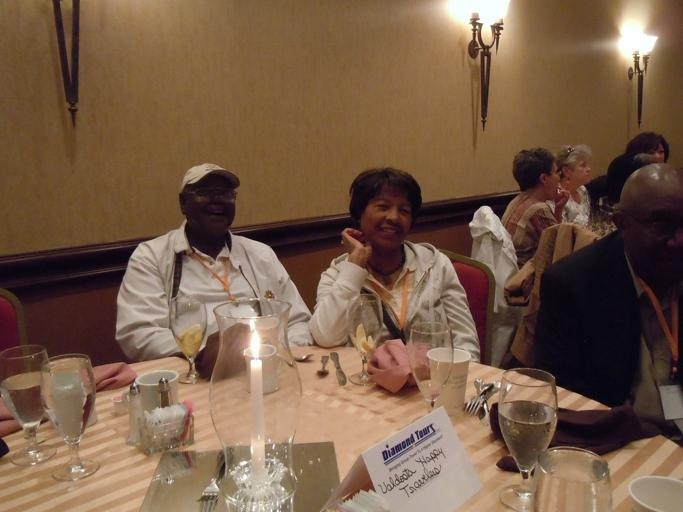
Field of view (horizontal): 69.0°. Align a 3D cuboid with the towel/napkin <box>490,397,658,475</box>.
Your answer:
[{"bbox_3d":[0.641,0.443,1.256,0.251,0.089,0.218,-1,-4,9],"label":"towel/napkin"}]

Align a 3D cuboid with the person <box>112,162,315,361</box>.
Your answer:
[{"bbox_3d":[-0.649,0.049,2.556,1.064,1.013,0.638,1,-10,-40],"label":"person"}]

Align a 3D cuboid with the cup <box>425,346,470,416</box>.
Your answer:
[{"bbox_3d":[0.293,0.378,1.439,0.131,0.161,0.141,8,-18,3],"label":"cup"}]

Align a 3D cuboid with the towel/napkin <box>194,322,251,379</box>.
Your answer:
[{"bbox_3d":[-0.243,0.196,1.029,0.087,0.112,0.095,-3,-7,8],"label":"towel/napkin"}]

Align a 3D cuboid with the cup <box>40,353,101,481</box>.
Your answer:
[{"bbox_3d":[-0.693,0.397,1.277,0.115,0.274,0.247,-8,7,-29],"label":"cup"}]

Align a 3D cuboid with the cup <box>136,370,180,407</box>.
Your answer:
[{"bbox_3d":[-0.491,0.385,1.417,0.076,0.080,0.078,3,-16,1],"label":"cup"}]

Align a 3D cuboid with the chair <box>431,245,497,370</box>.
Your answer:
[{"bbox_3d":[0.508,0.258,2.274,0.319,0.547,0.330,5,-10,16],"label":"chair"}]

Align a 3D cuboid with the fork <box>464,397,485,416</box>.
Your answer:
[{"bbox_3d":[0.386,0.434,1.442,0.030,0.017,0.058,2,19,10],"label":"fork"}]
